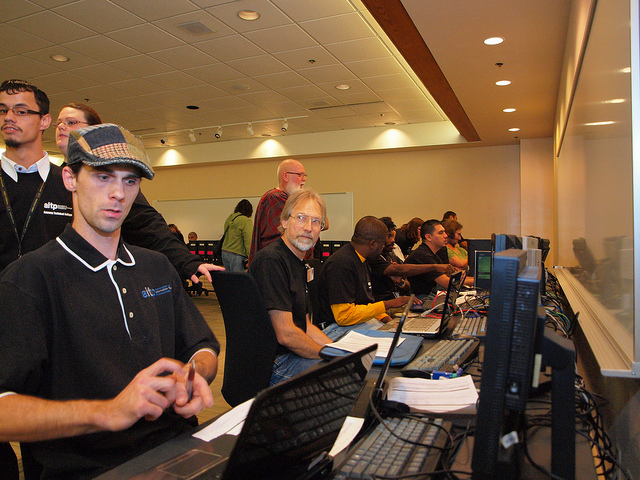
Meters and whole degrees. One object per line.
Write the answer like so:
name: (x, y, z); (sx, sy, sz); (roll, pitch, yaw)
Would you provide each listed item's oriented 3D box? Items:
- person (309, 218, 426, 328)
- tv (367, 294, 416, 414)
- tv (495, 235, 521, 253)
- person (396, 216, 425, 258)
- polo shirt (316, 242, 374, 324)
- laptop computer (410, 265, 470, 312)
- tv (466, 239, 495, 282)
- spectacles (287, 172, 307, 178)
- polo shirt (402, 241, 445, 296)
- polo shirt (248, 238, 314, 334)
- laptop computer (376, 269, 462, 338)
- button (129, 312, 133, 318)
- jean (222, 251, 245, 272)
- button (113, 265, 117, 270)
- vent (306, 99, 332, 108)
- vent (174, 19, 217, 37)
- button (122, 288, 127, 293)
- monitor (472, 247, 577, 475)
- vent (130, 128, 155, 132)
person: (0.282, 0.260, 3.005); (0.644, 0.754, 0.555); (7, 5, 25)
tv: (0.231, 0.288, 1.366); (0.117, 0.567, 0.026); (2, 24, 21)
tv: (1.213, 0.025, 2.957); (0.056, 0.116, 0.124); (-1, 3, 43)
person: (1.234, -0.024, 6.240); (0.420, 0.788, 0.337); (2, 31, 4)
polo shirt: (0.205, 0.334, 3.048); (0.358, 0.556, 0.641); (-2, -7, 19)
laptop computer: (0.854, 0.353, 3.198); (0.221, 0.342, 0.372); (18, 4, 9)
tv: (1.448, 0.229, 3.993); (0.270, 0.338, 0.350); (-2, -9, 27)
spectacles: (-0.181, -0.561, 3.972); (0.107, 0.043, 0.290); (-3, 4, 18)
polo shirt: (0.971, 0.299, 4.407); (0.434, 0.665, 0.799); (-5, -2, 9)
polo shirt: (-0.190, 0.283, 2.424); (0.306, 0.517, 0.569); (-4, -13, 26)
laptop computer: (0.491, 0.328, 2.376); (0.275, 0.363, 0.467); (10, 5, 12)
button: (-0.579, 0.231, 1.385); (0.003, 0.012, 0.012); (2, -5, 19)
jean: (-1.322, 0.313, 6.883); (0.297, 0.298, 0.522); (-6, 4, -17)
button: (-0.634, 0.086, 1.394); (0.015, 0.015, 0.003); (2, -3, -29)
vent: (-0.027, -2.182, 7.300); (0.339, 0.041, 0.354); (-3, 4, 18)
vent: (-1.311, -2.199, 4.733); (0.339, 0.055, 0.266); (-3, 4, 18)
button: (-0.602, 0.155, 1.385); (0.016, 0.016, 0.004); (-1, -2, -40)
monitor: (0.488, 0.294, 1.082); (0.207, 0.553, 0.312); (-2, 5, 29)
vent: (-3.541, -2.172, 9.031); (0.587, 0.030, 0.158); (-3, 4, 18)
